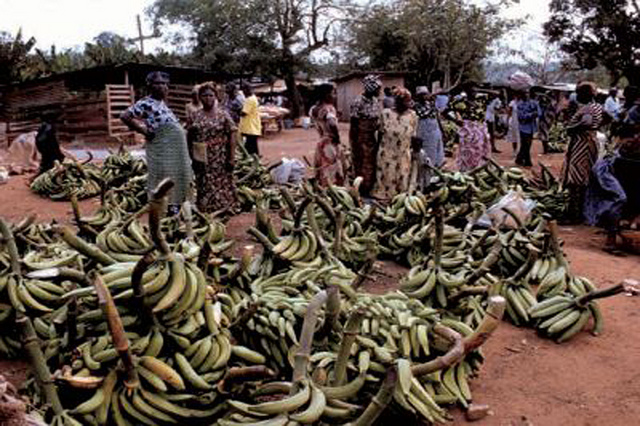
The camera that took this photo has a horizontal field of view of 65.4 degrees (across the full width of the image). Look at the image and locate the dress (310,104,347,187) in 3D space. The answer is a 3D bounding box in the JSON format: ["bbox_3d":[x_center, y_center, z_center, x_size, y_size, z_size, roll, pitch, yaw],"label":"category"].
[{"bbox_3d":[0.149,-1.119,8.255,0.580,1.361,0.633,1,10,2],"label":"dress"}]

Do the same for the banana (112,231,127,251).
[{"bbox_3d":[-1.624,0.225,4.031,0.135,0.036,0.107,34,35,-10],"label":"banana"}]

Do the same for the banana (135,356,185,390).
[{"bbox_3d":[-1.100,1.091,3.381,0.084,0.285,0.075,-48,6,37],"label":"banana"}]

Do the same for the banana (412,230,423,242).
[{"bbox_3d":[1.120,0.252,5.653,0.084,0.036,0.141,-13,19,47],"label":"banana"}]

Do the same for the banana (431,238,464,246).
[{"bbox_3d":[1.535,0.324,5.690,0.226,0.080,0.088,4,11,21],"label":"banana"}]

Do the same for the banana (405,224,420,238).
[{"bbox_3d":[1.086,0.205,5.812,0.160,0.097,0.039,-47,0,-28],"label":"banana"}]

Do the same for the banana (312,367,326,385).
[{"bbox_3d":[-0.007,1.066,3.270,0.092,0.130,0.132,-1,-7,-5],"label":"banana"}]

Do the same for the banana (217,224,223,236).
[{"bbox_3d":[-1.002,0.166,4.980,0.049,0.090,0.139,-2,10,-10],"label":"banana"}]

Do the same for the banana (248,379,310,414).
[{"bbox_3d":[-0.235,1.115,3.005,0.246,0.064,0.178,-10,6,-4],"label":"banana"}]

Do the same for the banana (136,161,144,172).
[{"bbox_3d":[-3.379,-0.875,9.342,0.058,0.183,0.064,35,-41,-21],"label":"banana"}]

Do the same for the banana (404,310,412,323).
[{"bbox_3d":[0.680,0.790,3.831,0.029,0.035,0.120,-6,19,23],"label":"banana"}]

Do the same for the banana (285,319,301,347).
[{"bbox_3d":[-0.215,0.880,3.707,0.058,0.238,0.076,-22,-16,-8],"label":"banana"}]

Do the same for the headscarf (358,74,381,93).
[{"bbox_3d":[0.843,-2.097,8.077,0.249,0.289,0.331,2,10,7],"label":"headscarf"}]

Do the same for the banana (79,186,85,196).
[{"bbox_3d":[-4.762,-0.440,9.944,0.106,0.133,0.034,24,-32,-21],"label":"banana"}]

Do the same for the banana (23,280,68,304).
[{"bbox_3d":[-2.149,0.615,3.860,0.227,0.046,0.077,33,30,-6],"label":"banana"}]

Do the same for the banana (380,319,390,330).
[{"bbox_3d":[0.506,0.857,3.847,0.041,0.083,0.028,-37,-17,-5],"label":"banana"}]

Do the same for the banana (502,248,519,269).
[{"bbox_3d":[2.087,0.493,5.482,0.063,0.288,0.087,-35,12,18],"label":"banana"}]

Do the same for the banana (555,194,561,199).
[{"bbox_3d":[3.913,-0.276,8.158,0.064,0.063,0.015,-20,-22,-12],"label":"banana"}]

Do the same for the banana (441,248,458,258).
[{"bbox_3d":[1.369,0.426,5.302,0.105,0.062,0.246,7,11,34],"label":"banana"}]

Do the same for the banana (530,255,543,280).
[{"bbox_3d":[2.334,0.584,5.395,0.091,0.097,0.331,31,51,8],"label":"banana"}]

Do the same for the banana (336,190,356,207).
[{"bbox_3d":[0.321,-0.188,6.180,0.206,0.191,0.206,1,10,3],"label":"banana"}]

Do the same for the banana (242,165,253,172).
[{"bbox_3d":[-1.412,-0.877,9.693,0.193,0.110,0.309,-1,10,-6],"label":"banana"}]

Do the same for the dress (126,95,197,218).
[{"bbox_3d":[-2.043,-0.805,6.497,0.717,1.369,0.346,2,11,7],"label":"dress"}]

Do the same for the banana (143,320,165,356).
[{"bbox_3d":[-1.136,0.885,3.426,0.109,0.299,0.072,17,25,-8],"label":"banana"}]

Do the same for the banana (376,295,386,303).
[{"bbox_3d":[0.499,0.696,4.054,0.078,0.025,0.116,1,9,5],"label":"banana"}]

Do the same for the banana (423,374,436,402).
[{"bbox_3d":[0.837,1.327,3.820,0.062,0.223,0.062,-15,-24,3],"label":"banana"}]

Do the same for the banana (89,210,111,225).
[{"bbox_3d":[-2.670,0.083,6.025,0.191,0.146,0.049,-23,-8,7],"label":"banana"}]

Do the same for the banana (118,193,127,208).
[{"bbox_3d":[-3.148,-0.202,7.941,0.116,0.157,0.456,-4,10,-21],"label":"banana"}]

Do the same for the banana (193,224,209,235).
[{"bbox_3d":[-1.190,0.167,4.972,0.154,0.107,0.118,-2,10,-14],"label":"banana"}]

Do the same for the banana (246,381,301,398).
[{"bbox_3d":[-0.299,1.140,3.220,0.385,0.102,0.083,-16,-40,17],"label":"banana"}]

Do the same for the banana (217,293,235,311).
[{"bbox_3d":[-0.742,0.698,3.894,0.034,0.146,0.042,-44,12,-7],"label":"banana"}]

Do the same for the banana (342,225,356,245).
[{"bbox_3d":[0.305,0.221,5.400,0.039,0.147,0.137,14,13,15],"label":"banana"}]

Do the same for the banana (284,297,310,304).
[{"bbox_3d":[-0.186,0.686,3.928,0.158,0.024,0.150,8,12,39],"label":"banana"}]

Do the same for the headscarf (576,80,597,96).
[{"bbox_3d":[4.003,-1.847,7.490,0.241,0.121,0.309,-14,25,13],"label":"headscarf"}]

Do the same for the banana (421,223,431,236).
[{"bbox_3d":[1.210,0.178,5.658,0.099,0.110,0.230,1,10,4],"label":"banana"}]

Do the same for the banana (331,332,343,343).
[{"bbox_3d":[0.123,0.945,3.797,0.072,0.086,0.029,1,11,5],"label":"banana"}]
